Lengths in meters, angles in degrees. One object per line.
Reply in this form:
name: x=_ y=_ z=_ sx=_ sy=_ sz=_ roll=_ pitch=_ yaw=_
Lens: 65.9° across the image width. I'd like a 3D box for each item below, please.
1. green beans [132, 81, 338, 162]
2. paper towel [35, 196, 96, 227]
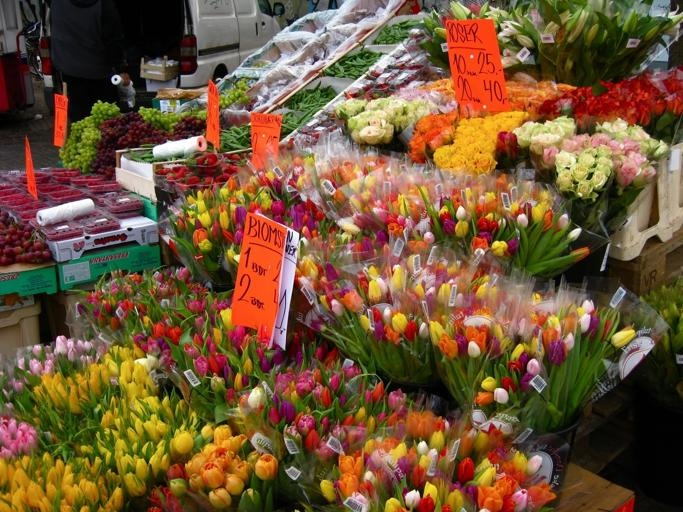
green beans: x=-0.822 y=-1.087 z=4.219 sx=1.721 sy=0.655 sz=0.706 roll=-17 pitch=29 yaw=-29
paper towel: x=-1.651 y=-0.259 z=3.223 sx=0.123 sy=0.152 sz=0.401 roll=-8 pitch=16 yaw=46
